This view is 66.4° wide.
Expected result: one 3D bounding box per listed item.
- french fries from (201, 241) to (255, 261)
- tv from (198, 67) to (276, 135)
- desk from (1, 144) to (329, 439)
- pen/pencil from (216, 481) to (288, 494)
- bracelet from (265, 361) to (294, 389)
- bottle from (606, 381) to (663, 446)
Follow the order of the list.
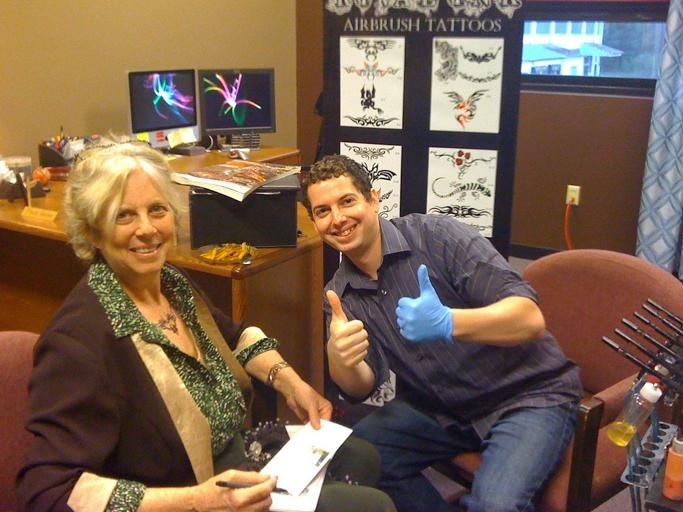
[{"bbox_3d":[-0.480,-0.016,2.208,0.112,0.034,0.120,3,29,5],"label":"french fries"},{"bbox_3d":[-0.881,-1.293,4.342,0.511,0.467,0.048,-2,9,-18],"label":"tv"},{"bbox_3d":[-0.724,0.024,2.886,1.368,1.397,1.400,9,16,31],"label":"desk"},{"bbox_3d":[-0.238,0.592,1.340,0.259,0.029,0.028,20,47,-37],"label":"pen/pencil"},{"bbox_3d":[-0.231,0.419,1.913,0.078,0.087,0.084,24,39,13],"label":"bracelet"},{"bbox_3d":[0.896,0.457,1.591,0.113,0.205,0.142,10,20,31],"label":"bottle"}]
